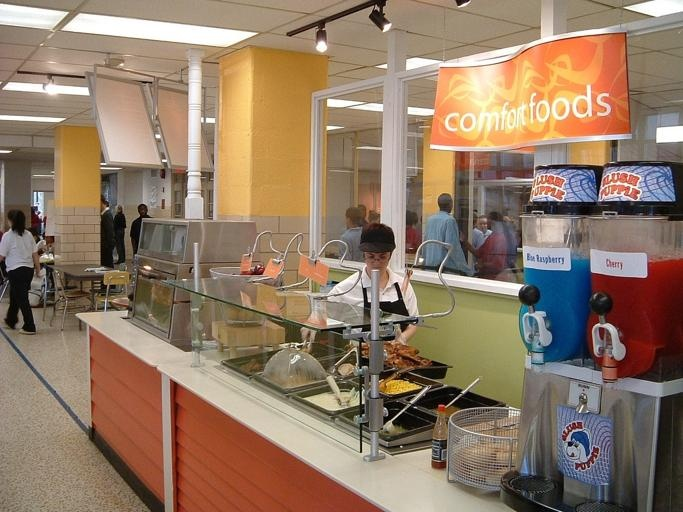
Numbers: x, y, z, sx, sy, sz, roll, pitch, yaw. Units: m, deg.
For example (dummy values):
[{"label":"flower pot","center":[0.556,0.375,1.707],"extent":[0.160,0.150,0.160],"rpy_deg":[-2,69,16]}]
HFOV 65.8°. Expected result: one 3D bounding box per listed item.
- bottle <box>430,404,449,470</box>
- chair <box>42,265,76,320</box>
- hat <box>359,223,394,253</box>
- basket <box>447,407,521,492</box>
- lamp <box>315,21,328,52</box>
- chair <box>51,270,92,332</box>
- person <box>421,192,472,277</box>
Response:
[{"label":"bottle","center":[0.364,0.672,1.974],"extent":[0.063,0.228,0.181],"rpy_deg":[-1,5,10]},{"label":"chair","center":[-5.114,0.651,9.499],"extent":[0.307,0.610,0.862],"rpy_deg":[-1,5,-24]},{"label":"hat","center":[0.201,-0.105,3.074],"extent":[0.198,0.171,0.206],"rpy_deg":[-1,5,13]},{"label":"basket","center":[0.520,0.674,1.865],"extent":[0.239,0.235,0.346],"rpy_deg":[2,6,39]},{"label":"lamp","center":[-0.177,-1.884,4.503],"extent":[0.085,0.288,0.278],"rpy_deg":[-2,5,-5]},{"label":"chair","center":[-4.593,0.729,9.057],"extent":[0.649,0.925,0.621],"rpy_deg":[0,7,-19]},{"label":"person","center":[0.805,-0.037,4.125],"extent":[0.222,0.847,0.336],"rpy_deg":[-15,22,-29]}]
